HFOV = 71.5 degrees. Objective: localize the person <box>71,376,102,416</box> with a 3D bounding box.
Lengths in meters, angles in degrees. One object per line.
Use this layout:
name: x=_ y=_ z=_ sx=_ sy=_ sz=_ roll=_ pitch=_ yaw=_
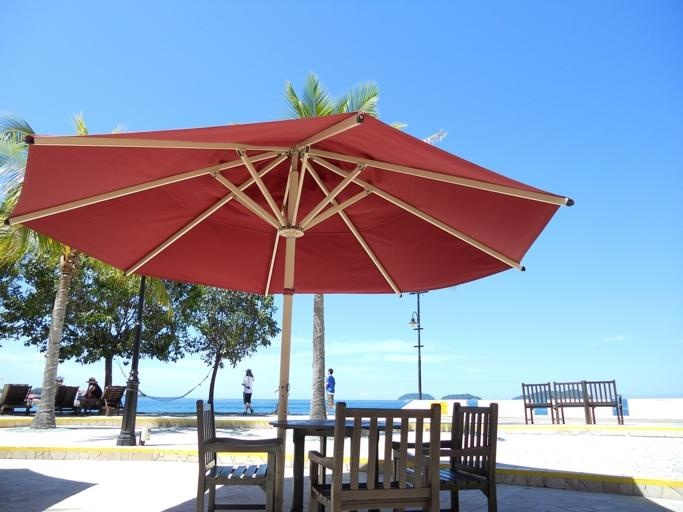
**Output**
person: x=-10.950 y=6.024 z=21.134 sx=1.560 sy=1.284 sz=1.047 roll=3 pitch=12 yaw=23
